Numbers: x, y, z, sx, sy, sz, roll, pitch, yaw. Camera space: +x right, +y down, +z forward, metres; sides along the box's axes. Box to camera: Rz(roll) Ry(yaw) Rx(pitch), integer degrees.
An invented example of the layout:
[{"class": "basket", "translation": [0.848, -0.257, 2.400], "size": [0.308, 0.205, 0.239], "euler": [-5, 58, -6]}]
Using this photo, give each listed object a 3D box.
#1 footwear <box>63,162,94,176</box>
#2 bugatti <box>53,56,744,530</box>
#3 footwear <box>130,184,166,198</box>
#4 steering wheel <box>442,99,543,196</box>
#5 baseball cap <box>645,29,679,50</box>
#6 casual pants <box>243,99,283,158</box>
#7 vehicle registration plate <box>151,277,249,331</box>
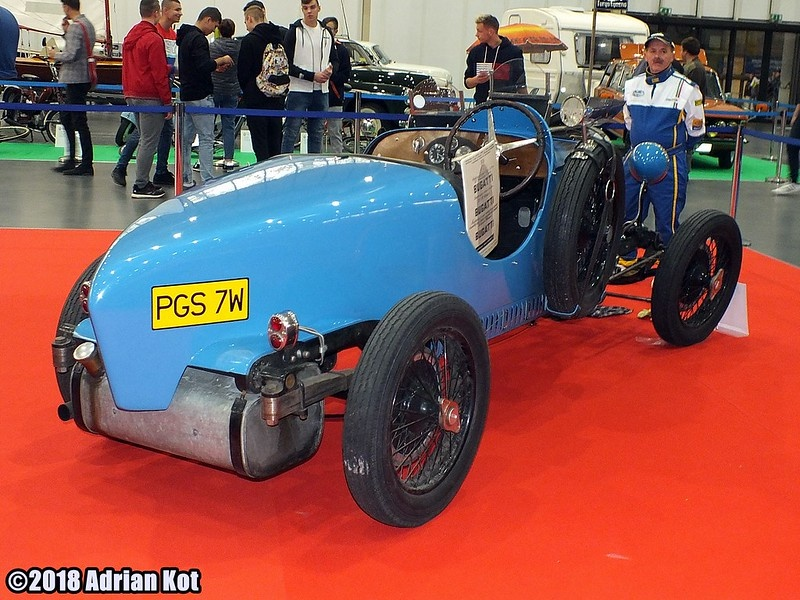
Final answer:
[{"class": "footwear", "translation": [-3.994, -1.632, 8.192], "size": [0.416, 0.213, 0.169], "euler": [4, 8, 1]}, {"class": "bugatti", "translation": [0.040, -0.148, 2.970], "size": [1.248, 1.523, 2.876], "euler": [14, 20, 43]}, {"class": "footwear", "translation": [-2.708, -1.203, 7.101], "size": [0.357, 0.209, 0.157], "euler": [-2, 10, -10]}, {"class": "steering wheel", "translation": [0.519, -0.841, 3.450], "size": [0.463, 0.563, 0.095], "euler": [-25, -12, 23]}, {"class": "baseball cap", "translation": [1.904, -1.904, 4.769], "size": [0.184, 0.110, 0.241], "euler": [6, 17, 21]}, {"class": "casual pants", "translation": [-1.431, -1.855, 7.251], "size": [0.157, 0.535, 0.125], "euler": [-1, 46, 5]}, {"class": "vehicle registration plate", "translation": [-0.669, 0.016, 2.198], "size": [0.315, 0.140, 0.026], "euler": [-5, 14, -19]}]
